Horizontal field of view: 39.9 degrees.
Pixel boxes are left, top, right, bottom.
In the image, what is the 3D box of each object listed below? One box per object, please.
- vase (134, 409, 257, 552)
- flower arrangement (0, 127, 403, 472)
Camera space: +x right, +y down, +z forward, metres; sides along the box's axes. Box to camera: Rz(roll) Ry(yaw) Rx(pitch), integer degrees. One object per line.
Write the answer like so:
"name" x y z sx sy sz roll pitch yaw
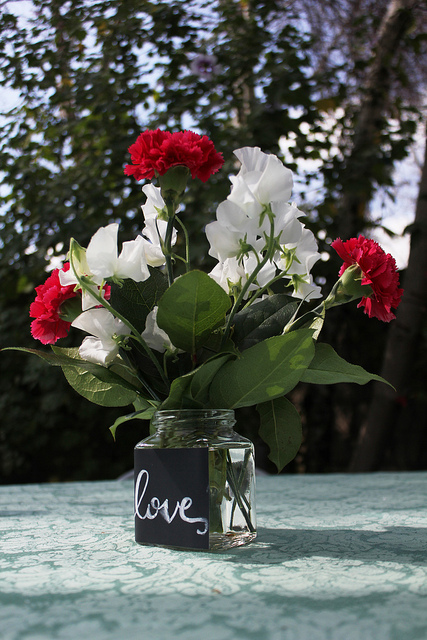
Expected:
"vase" -0.025 0.194 0.754 0.137 0.151 0.125 -6 -7 21
"flower arrangement" -0.045 0.000 0.914 0.551 0.398 0.501 -2 7 -15
